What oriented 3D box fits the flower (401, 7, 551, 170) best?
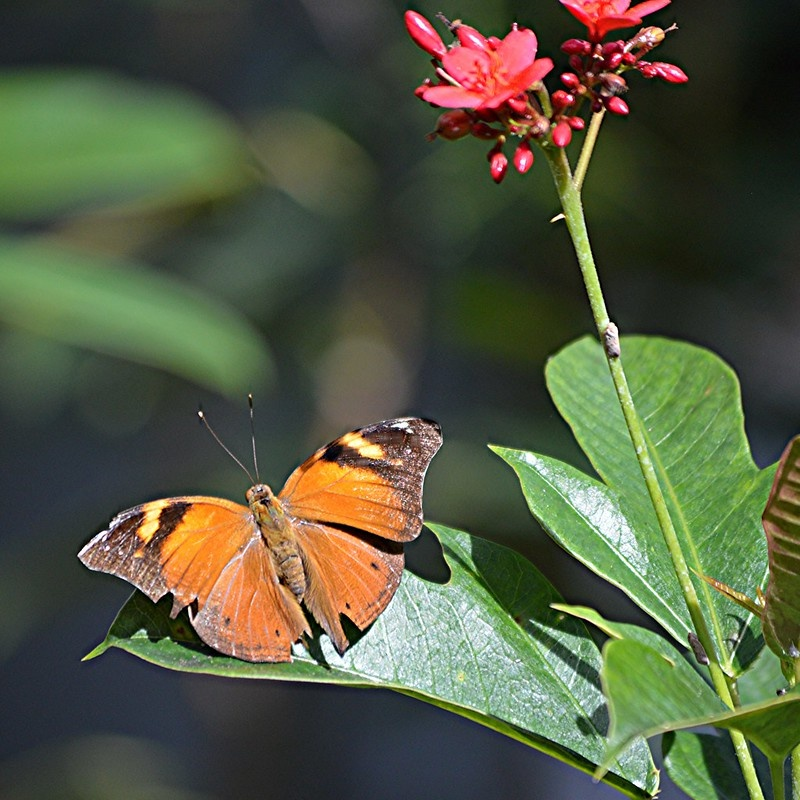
[{"bbox_3d":[0.126,-0.476,1.540,0.202,0.286,0.176,-11,-32,10],"label":"flower"}]
